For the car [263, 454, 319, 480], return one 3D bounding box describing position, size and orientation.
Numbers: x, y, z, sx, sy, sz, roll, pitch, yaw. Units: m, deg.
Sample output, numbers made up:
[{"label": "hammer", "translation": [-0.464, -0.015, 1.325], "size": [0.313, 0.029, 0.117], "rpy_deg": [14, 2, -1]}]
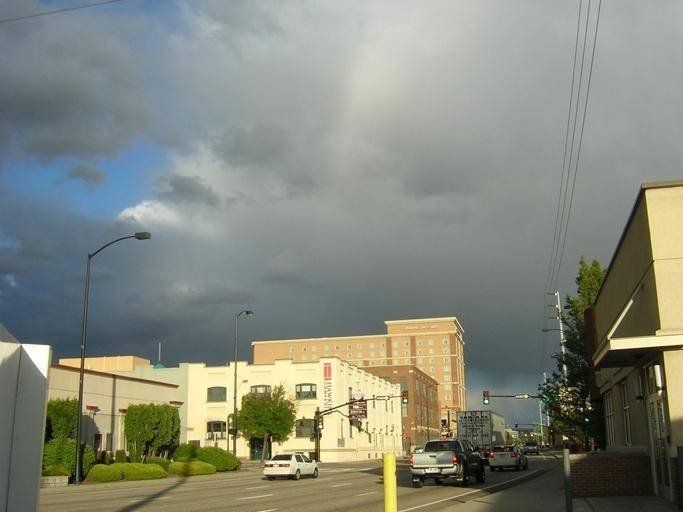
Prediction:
[{"label": "car", "translation": [-3.449, 13.491, 44.432], "size": [3.629, 1.769, 4.234], "rpy_deg": [-12, -22, 25]}]
